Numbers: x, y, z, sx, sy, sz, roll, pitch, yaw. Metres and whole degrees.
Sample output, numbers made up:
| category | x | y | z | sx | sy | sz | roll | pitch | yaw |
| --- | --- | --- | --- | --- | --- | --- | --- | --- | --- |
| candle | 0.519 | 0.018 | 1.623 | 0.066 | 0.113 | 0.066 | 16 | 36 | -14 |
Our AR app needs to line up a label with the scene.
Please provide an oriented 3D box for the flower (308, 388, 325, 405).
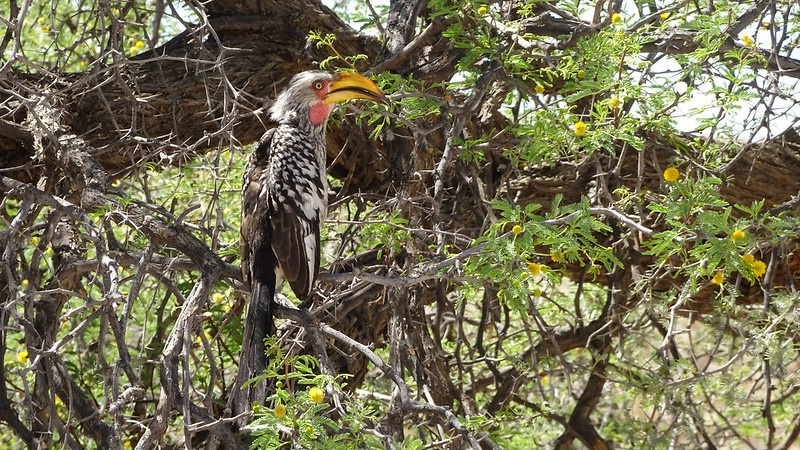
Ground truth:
| category | x | y | z | sx | sy | sz | roll | pitch | yaw |
| --- | --- | --- | --- | --- | --- | --- | --- | --- | --- |
| flower | -0.404 | 0.836 | 4.525 | 0.085 | 0.049 | 0.075 | -4 | -83 | -5 |

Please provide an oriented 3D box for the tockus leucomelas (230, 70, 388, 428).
| category | x | y | z | sx | sy | sz | roll | pitch | yaw |
| --- | --- | --- | --- | --- | --- | --- | --- | --- | --- |
| tockus leucomelas | -0.705 | 0.022 | 5.365 | 0.580 | 2.380 | 0.958 | 15 | -45 | -9 |
